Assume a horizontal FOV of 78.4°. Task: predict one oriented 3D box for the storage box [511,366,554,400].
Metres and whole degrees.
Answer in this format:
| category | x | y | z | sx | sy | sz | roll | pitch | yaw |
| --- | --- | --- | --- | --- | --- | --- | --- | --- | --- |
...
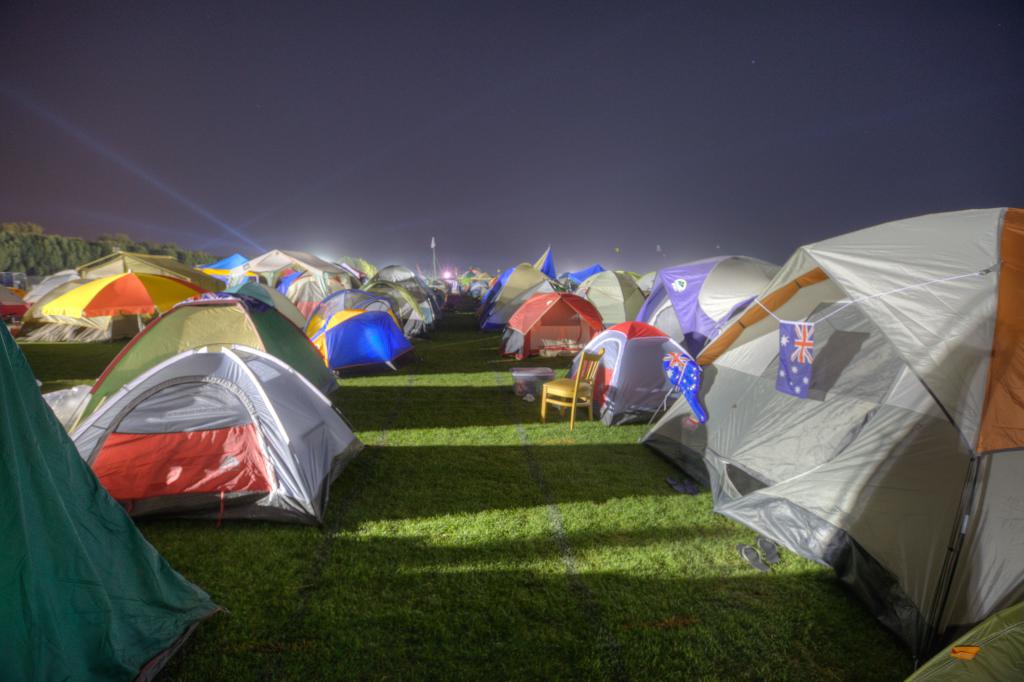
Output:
| category | x | y | z | sx | sy | sz | roll | pitch | yaw |
| --- | --- | --- | --- | --- | --- | --- | --- | --- | --- |
| storage box | 0.314 | 0.751 | 11.967 | 0.541 | 0.360 | 0.733 | 0 | 4 | 10 |
